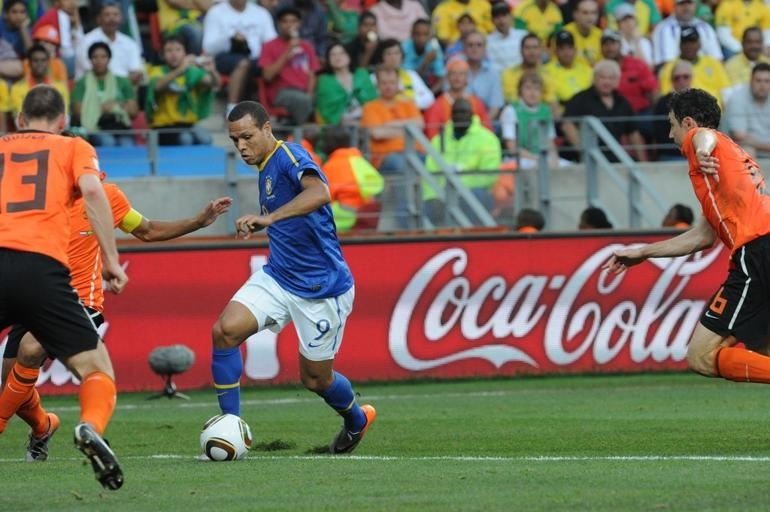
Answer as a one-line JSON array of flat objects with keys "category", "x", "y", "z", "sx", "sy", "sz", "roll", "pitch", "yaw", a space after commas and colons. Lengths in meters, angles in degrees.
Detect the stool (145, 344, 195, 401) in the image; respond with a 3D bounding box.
[{"category": "stool", "x": -2.278, "y": 1.251, "z": 15.175, "sx": 0.586, "sy": 0.550, "sz": 0.564, "roll": 0, "pitch": -10, "yaw": -3}]
